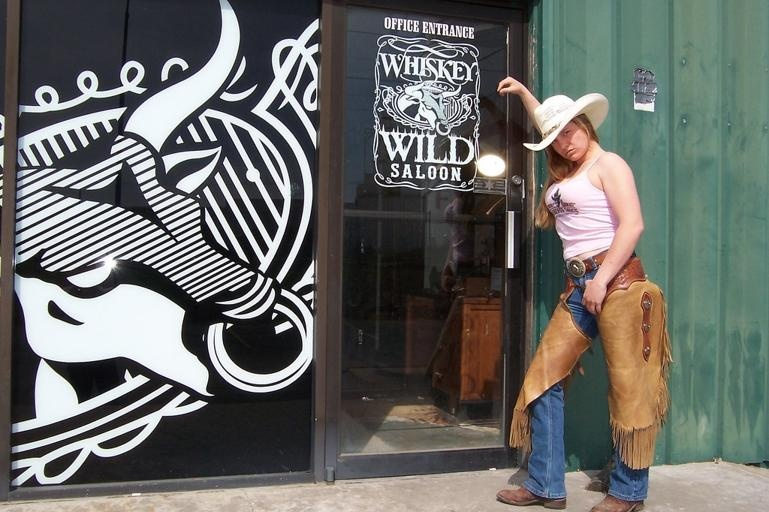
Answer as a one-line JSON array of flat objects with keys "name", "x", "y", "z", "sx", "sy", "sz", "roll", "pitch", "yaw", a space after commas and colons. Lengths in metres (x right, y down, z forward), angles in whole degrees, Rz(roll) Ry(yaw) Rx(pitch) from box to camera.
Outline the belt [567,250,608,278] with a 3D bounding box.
[{"name": "belt", "x": 1.173, "y": 0.053, "z": 4.589, "sx": 0.151, "sy": 0.072, "sz": 0.165, "roll": -31, "pitch": -2, "yaw": 41}]

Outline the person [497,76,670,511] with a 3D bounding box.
[{"name": "person", "x": 1.214, "y": 0.258, "z": 4.672, "sx": 0.917, "sy": 2.429, "sz": 0.408, "roll": 3, "pitch": 2, "yaw": 20}]
